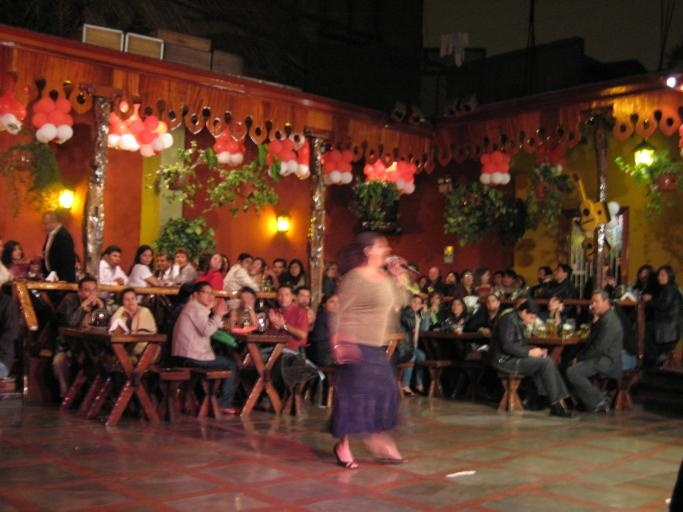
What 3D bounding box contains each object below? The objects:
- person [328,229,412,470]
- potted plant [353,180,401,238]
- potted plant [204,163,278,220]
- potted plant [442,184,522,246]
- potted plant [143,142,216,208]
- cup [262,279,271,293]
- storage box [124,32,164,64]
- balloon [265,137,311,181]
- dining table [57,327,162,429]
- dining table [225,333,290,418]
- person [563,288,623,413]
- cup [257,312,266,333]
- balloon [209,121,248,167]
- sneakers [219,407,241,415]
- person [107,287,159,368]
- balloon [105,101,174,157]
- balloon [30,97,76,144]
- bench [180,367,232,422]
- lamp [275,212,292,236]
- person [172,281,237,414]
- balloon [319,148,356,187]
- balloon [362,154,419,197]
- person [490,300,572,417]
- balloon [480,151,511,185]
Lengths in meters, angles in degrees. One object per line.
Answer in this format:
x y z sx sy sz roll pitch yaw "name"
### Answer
0.284 0.887 7.654 0.854 2.303 0.625 -2 11 -14 "person"
0.745 -1.111 15.929 1.515 1.543 1.205 0 3 6 "potted plant"
-2.375 -1.559 15.743 1.295 0.461 1.731 15 -24 6 "potted plant"
3.076 -0.925 15.712 1.726 1.334 0.690 2 -3 9 "potted plant"
-3.298 -1.847 15.094 1.595 1.162 1.287 -1 39 -13 "potted plant"
-1.328 0.509 12.899 0.195 0.199 0.182 -1 -5 0 "cup"
-3.518 -3.849 13.188 0.447 0.498 0.805 2 -3 6 "storage box"
-0.938 -1.914 12.857 0.723 0.261 0.736 15 -34 0 "balloon"
-2.918 1.513 9.466 0.877 1.167 1.481 5 -4 -42 "dining table"
-1.189 1.562 10.276 0.774 1.010 1.031 -14 11 -26 "dining table"
3.642 1.348 10.534 0.956 1.735 0.383 3 -3 -24 "person"
-1.111 0.916 10.167 0.123 0.248 0.099 3 -3 -8 "cup"
-1.974 -1.978 12.840 0.683 0.931 0.639 -1 -2 -35 "balloon"
-1.490 2.068 9.858 0.267 0.104 0.088 0 -2 -16 "sneakers"
-2.872 0.909 9.962 0.697 0.956 0.666 -10 11 -38 "person"
-3.242 -2.097 12.063 1.162 0.879 0.537 6 -30 -41 "balloon"
-4.205 -2.051 10.678 0.497 0.681 0.574 5 -4 -38 "balloon"
-1.719 1.758 9.615 0.592 0.838 0.819 0 1 -26 "bench"
-1.305 -0.730 16.744 0.336 0.428 0.104 5 1 -29 "lamp"
-1.794 1.210 9.679 0.860 1.743 0.511 3 -3 -19 "person"
-0.063 -1.625 12.990 0.521 0.552 0.953 2 -3 0 "balloon"
0.923 -1.575 14.001 0.677 0.380 0.874 2 11 -36 "balloon"
2.658 1.417 10.462 1.128 1.587 0.500 1 -3 17 "person"
2.782 -1.627 13.214 0.467 0.453 0.614 4 -31 29 "balloon"
